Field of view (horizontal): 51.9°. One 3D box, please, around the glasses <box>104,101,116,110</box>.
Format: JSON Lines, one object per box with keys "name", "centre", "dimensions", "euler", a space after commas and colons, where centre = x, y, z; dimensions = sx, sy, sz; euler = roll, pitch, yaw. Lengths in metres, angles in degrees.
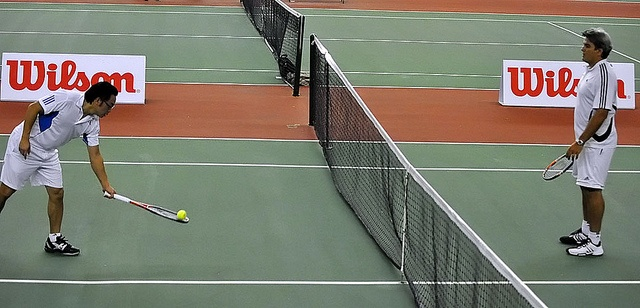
{"name": "glasses", "centre": [-4.728, -1.105, 14.879], "dimensions": [0.126, 0.140, 0.217], "euler": [1, 4, 25]}
